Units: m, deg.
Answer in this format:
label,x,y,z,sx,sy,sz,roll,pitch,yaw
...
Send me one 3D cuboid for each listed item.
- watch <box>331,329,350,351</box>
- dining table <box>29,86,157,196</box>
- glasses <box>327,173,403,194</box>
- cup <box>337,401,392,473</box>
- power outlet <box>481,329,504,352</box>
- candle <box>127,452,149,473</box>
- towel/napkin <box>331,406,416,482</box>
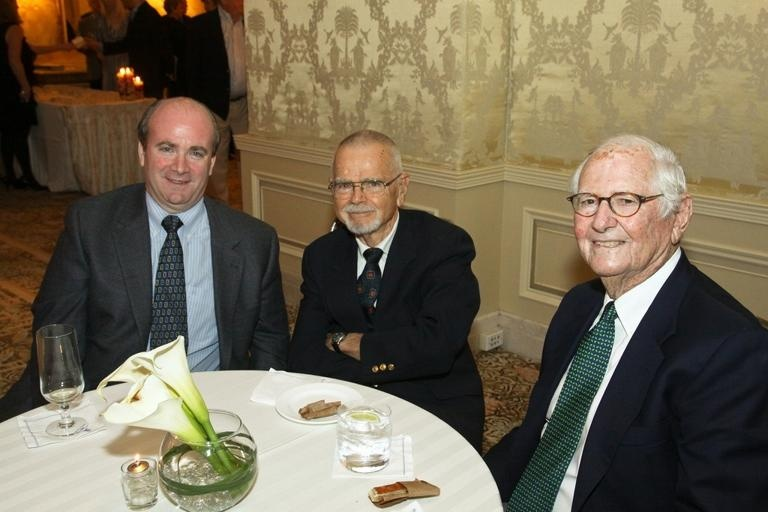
label,x,y,z,sx,sy,sz,roll,pitch,yaw
watch,-0.212,0.382,2.240,0.061,0.079,0.043,1,-1,14
dining table,-3.863,-1.528,6.797,1.574,1.339,2.150,-15,33,-37
glasses,-0.087,-0.331,2.291,0.346,0.092,0.130,0,23,-5
cup,-0.048,0.500,1.399,0.156,0.152,0.155,-1,5,0
power outlet,0.793,0.632,3.737,0.147,0.104,0.047,-19,24,-36
candle,-0.637,0.533,1.283,0.049,0.027,0.049,0,4,2
towel/napkin,-0.022,0.516,1.386,0.192,0.121,0.190,1,18,-3
